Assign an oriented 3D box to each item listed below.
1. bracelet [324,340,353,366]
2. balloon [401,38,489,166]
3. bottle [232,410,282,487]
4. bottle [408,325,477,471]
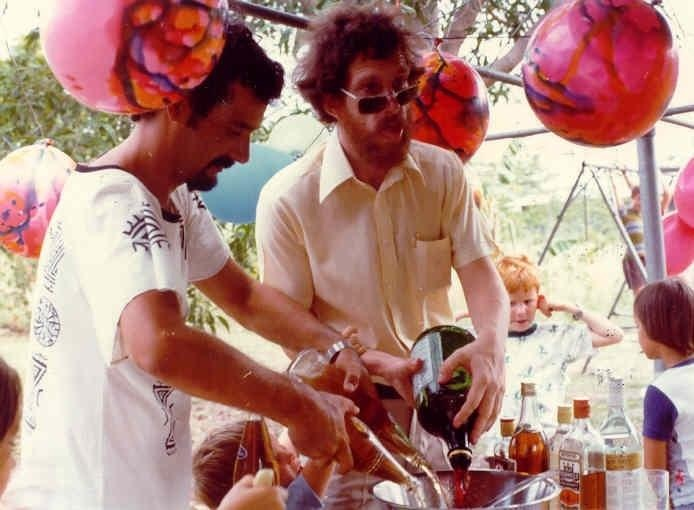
[{"bbox_3d":[-0.027,0.252,1.957,0.060,0.053,0.059,-24,-24,-19],"label":"bracelet"},{"bbox_3d":[0.318,-0.489,2.503,0.321,0.386,0.320,2,21,2],"label":"balloon"},{"bbox_3d":[-0.212,0.448,1.753,0.071,0.209,0.087,-1,2,18],"label":"bottle"},{"bbox_3d":[0.234,0.340,1.840,0.159,0.334,0.249,-2,-5,9],"label":"bottle"}]
